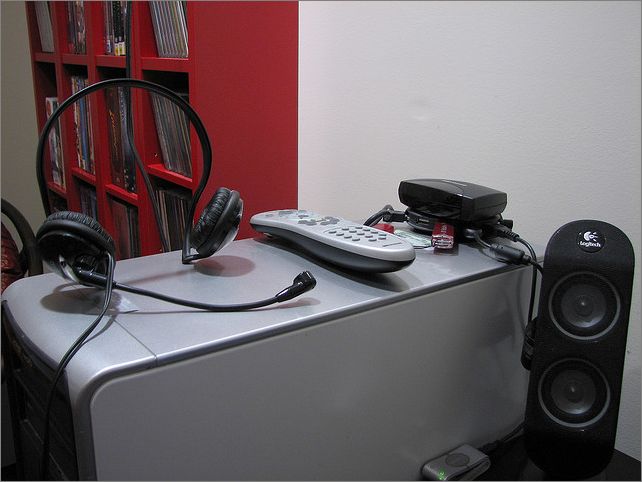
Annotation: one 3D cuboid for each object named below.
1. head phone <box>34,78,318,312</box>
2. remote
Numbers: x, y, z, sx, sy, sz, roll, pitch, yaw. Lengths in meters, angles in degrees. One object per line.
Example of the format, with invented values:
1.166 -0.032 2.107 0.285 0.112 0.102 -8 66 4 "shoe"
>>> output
-0.216 -0.058 0.676 0.268 0.267 0.383 -15 26 -42 "head phone"
0.005 -0.026 0.767 0.089 0.053 0.308 -19 27 -36 "remote"
